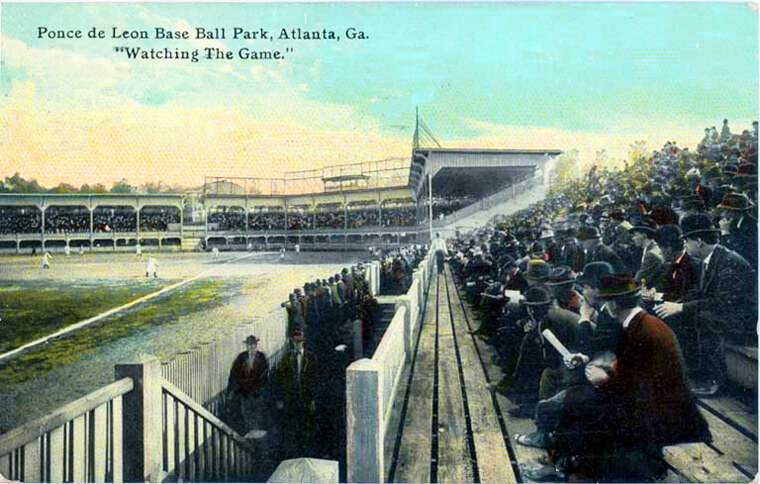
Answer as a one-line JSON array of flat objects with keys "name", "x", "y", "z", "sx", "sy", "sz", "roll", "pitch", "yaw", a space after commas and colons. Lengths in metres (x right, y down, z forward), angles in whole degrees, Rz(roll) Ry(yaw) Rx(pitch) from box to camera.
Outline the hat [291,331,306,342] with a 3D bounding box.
[{"name": "hat", "x": -1.983, "y": 2.337, "z": 16.626, "sx": 0.348, "sy": 0.160, "sz": 0.403, "roll": 3, "pitch": 4, "yaw": 27}]

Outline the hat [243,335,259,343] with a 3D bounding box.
[{"name": "hat", "x": -3.227, "y": 2.411, "z": 16.684, "sx": 0.283, "sy": 0.117, "sz": 0.313, "roll": 1, "pitch": 1, "yaw": -23}]
